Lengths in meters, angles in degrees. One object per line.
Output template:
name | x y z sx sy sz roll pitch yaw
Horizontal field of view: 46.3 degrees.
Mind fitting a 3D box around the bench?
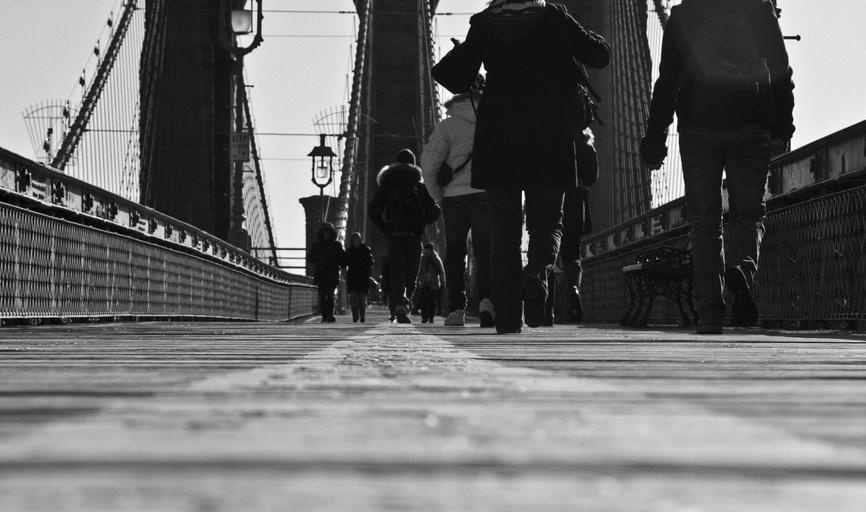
bench | 2.317 0.191 10.083 0.657 0.870 0.642 5 6 7

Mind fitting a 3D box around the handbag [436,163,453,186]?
handbag | 0.118 -0.711 8.802 0.161 0.307 0.226 2 5 3

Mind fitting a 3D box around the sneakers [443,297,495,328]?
sneakers | 0.306 0.432 7.615 0.180 0.224 0.534 1 1 -7
